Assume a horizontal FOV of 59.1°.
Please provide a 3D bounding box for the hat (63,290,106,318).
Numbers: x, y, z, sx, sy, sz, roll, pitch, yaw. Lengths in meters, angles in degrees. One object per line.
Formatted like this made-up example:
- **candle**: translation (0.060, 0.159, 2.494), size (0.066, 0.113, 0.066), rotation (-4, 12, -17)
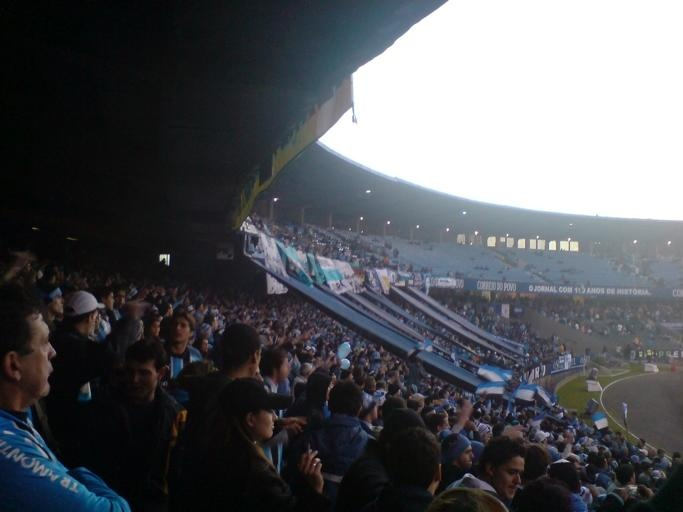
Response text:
- **hat**: translation (-2.830, 0.528, 6.615), size (0.192, 0.170, 0.283), rotation (8, 13, 30)

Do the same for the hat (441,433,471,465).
- **hat**: translation (1.251, 2.116, 6.707), size (0.298, 0.266, 0.246), rotation (-15, 11, 6)
